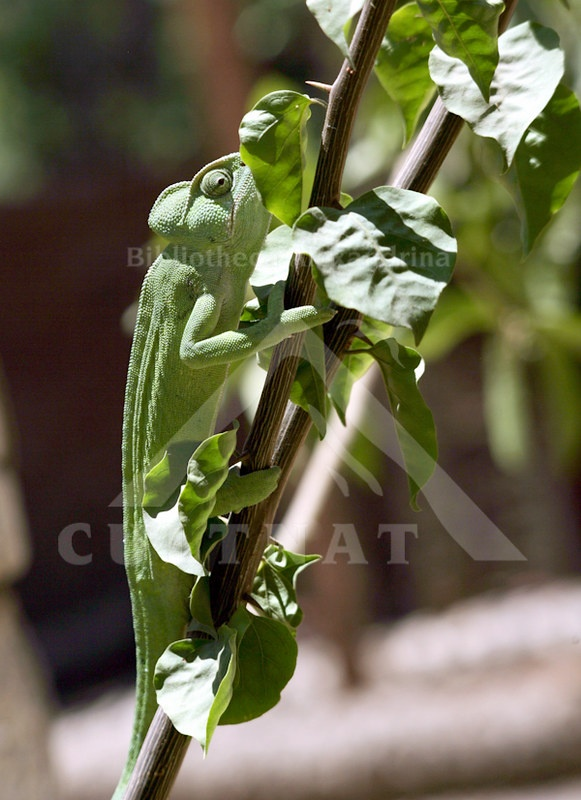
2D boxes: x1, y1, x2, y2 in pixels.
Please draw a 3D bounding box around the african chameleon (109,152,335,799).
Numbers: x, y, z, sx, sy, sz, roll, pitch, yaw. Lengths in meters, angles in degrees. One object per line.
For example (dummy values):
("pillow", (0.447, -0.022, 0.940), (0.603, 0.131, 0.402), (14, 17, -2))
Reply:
("african chameleon", (-0.063, 0.061, 0.651), (0.138, 0.450, 0.131), (-2, 21, -11))
